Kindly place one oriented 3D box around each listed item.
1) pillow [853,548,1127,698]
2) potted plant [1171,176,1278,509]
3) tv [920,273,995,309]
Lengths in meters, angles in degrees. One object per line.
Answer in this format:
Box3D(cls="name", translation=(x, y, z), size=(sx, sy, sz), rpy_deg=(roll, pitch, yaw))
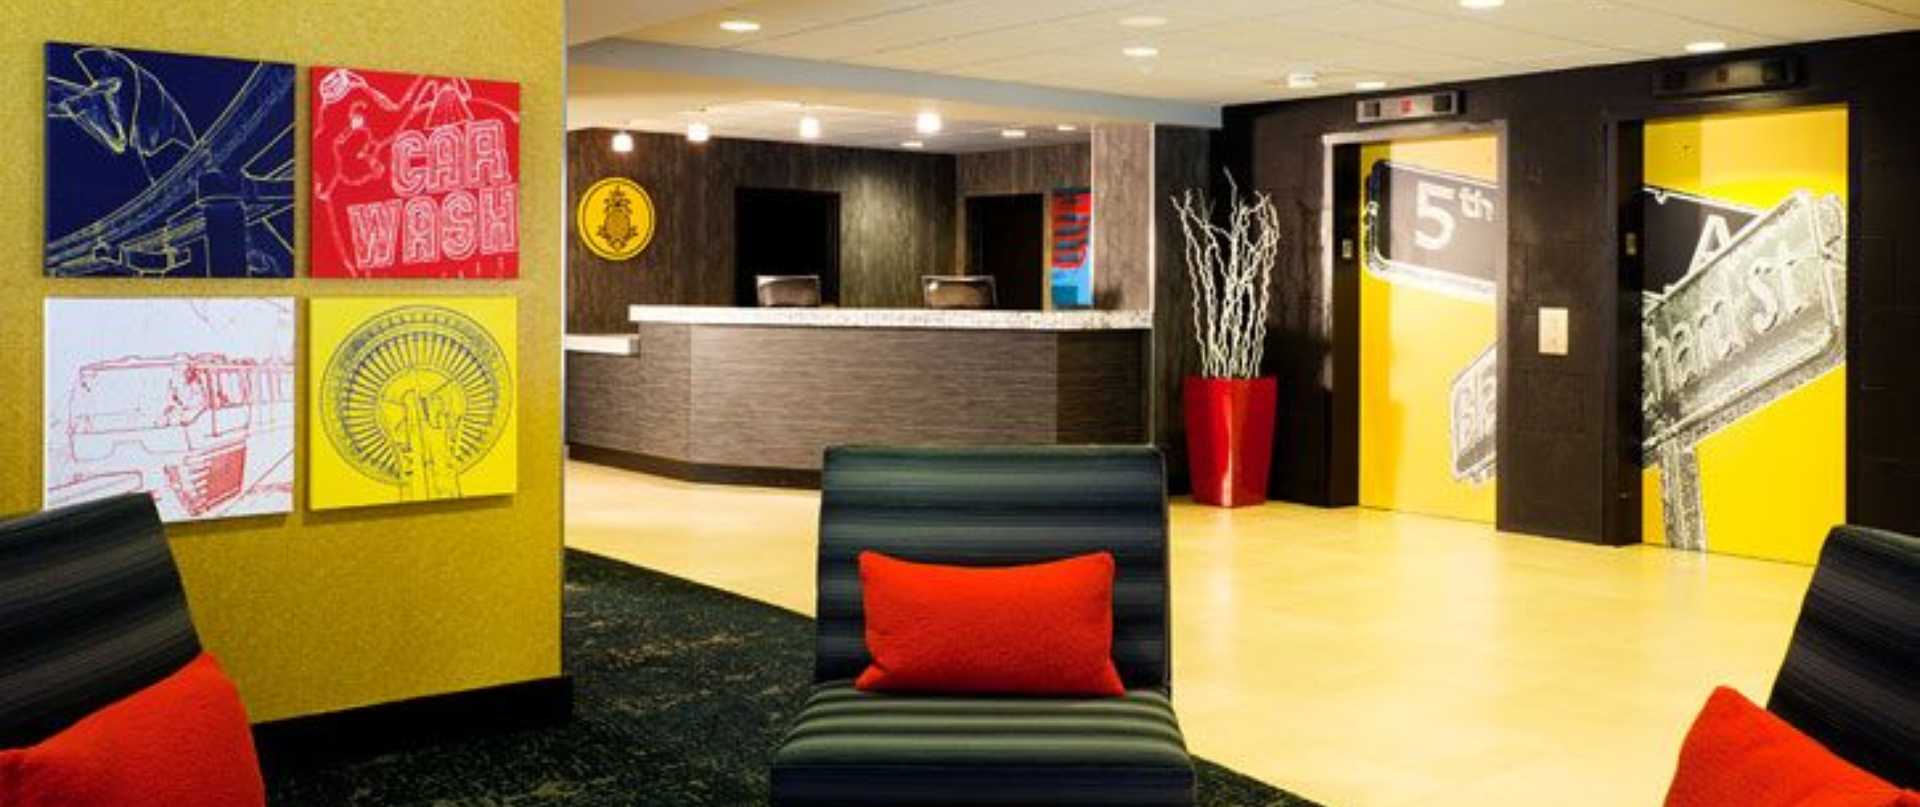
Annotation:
Box3D(cls="pillow", translation=(0.091, 1.148, 5.594), size=(1.549, 0.606, 0.431), rpy_deg=(6, -7, -20))
Box3D(cls="potted plant", translation=(2.723, -0.632, 11.131), size=(1.117, 3.225, 1.306), rpy_deg=(2, 13, 4))
Box3D(cls="tv", translation=(0.039, -1.295, 12.606), size=(0.929, 0.475, 0.532), rpy_deg=(0, -1, 8))
